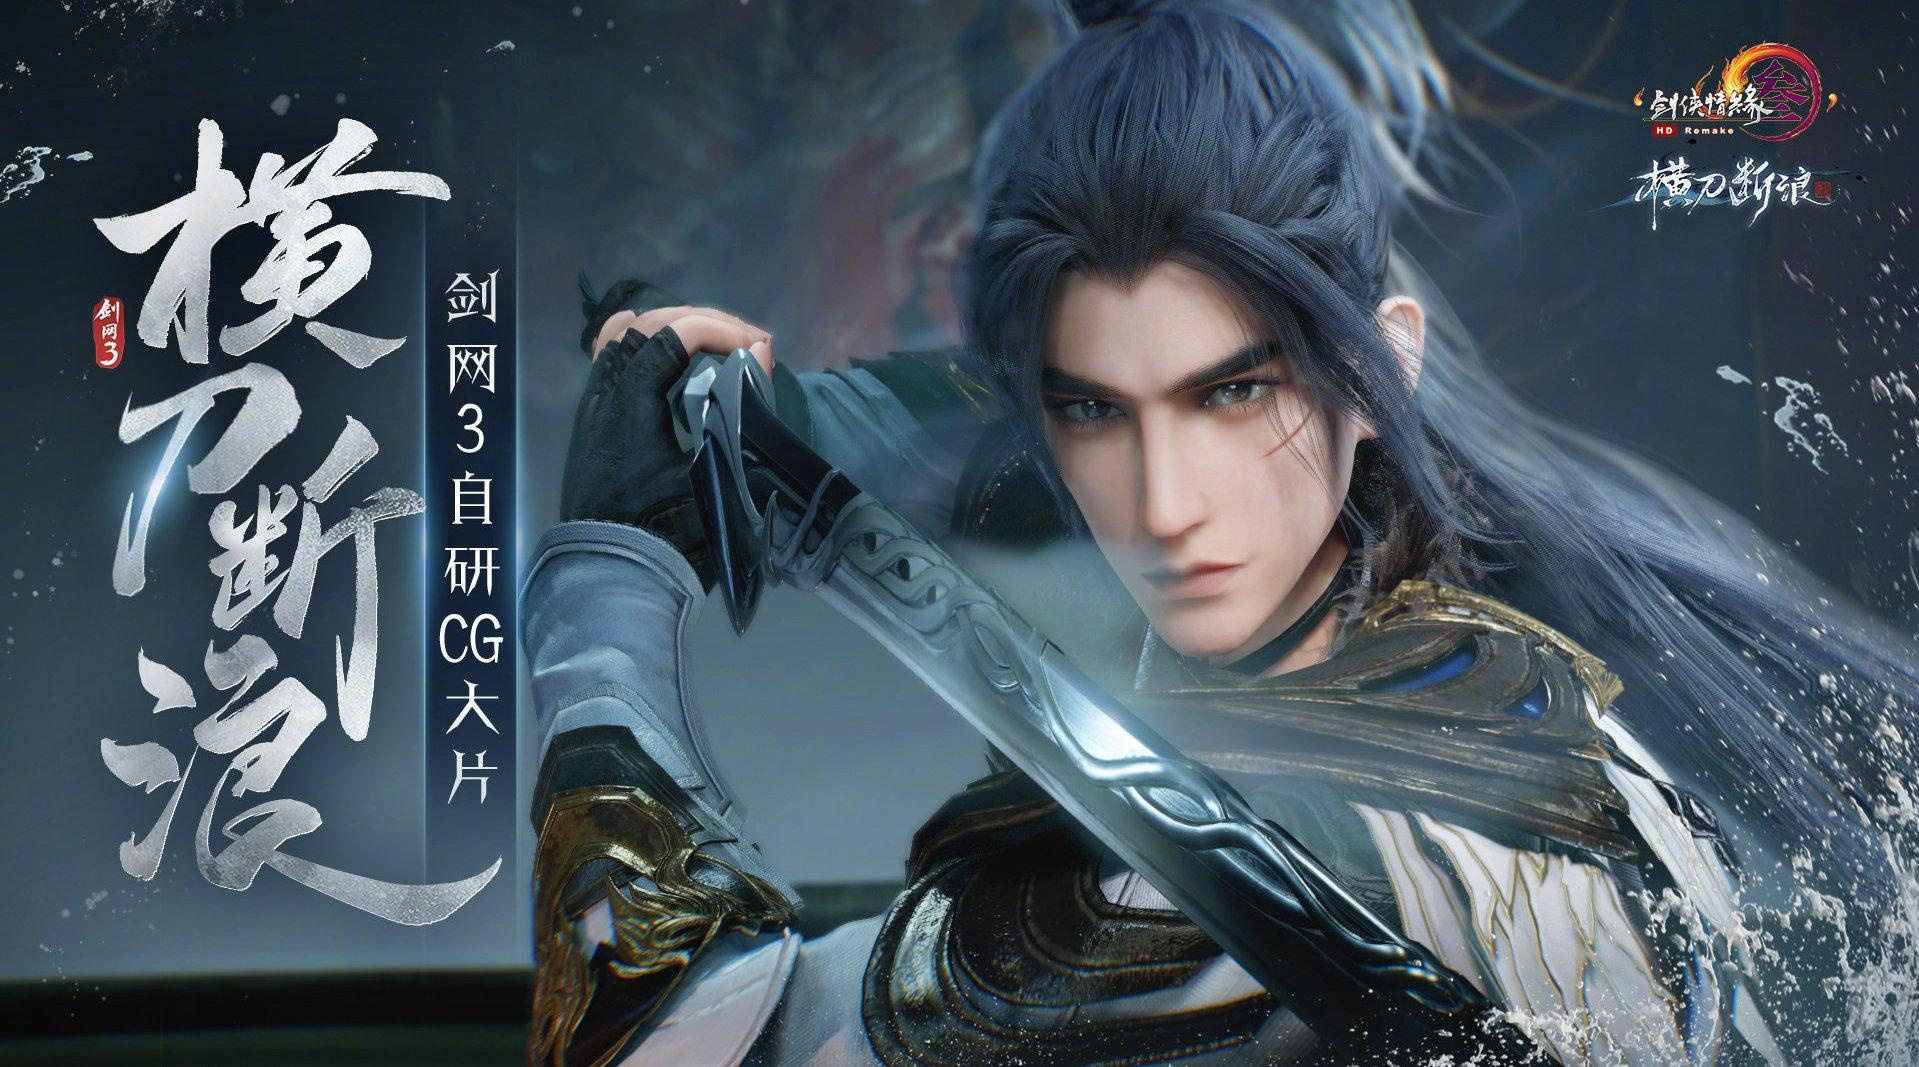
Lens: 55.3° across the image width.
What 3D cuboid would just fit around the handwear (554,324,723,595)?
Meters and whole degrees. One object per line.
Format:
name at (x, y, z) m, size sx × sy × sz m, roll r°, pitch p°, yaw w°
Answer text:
handwear at (-0.898, -0.198, 5.049) m, size 0.557 × 0.657 × 0.210 m, roll -16°, pitch -1°, yaw 39°
